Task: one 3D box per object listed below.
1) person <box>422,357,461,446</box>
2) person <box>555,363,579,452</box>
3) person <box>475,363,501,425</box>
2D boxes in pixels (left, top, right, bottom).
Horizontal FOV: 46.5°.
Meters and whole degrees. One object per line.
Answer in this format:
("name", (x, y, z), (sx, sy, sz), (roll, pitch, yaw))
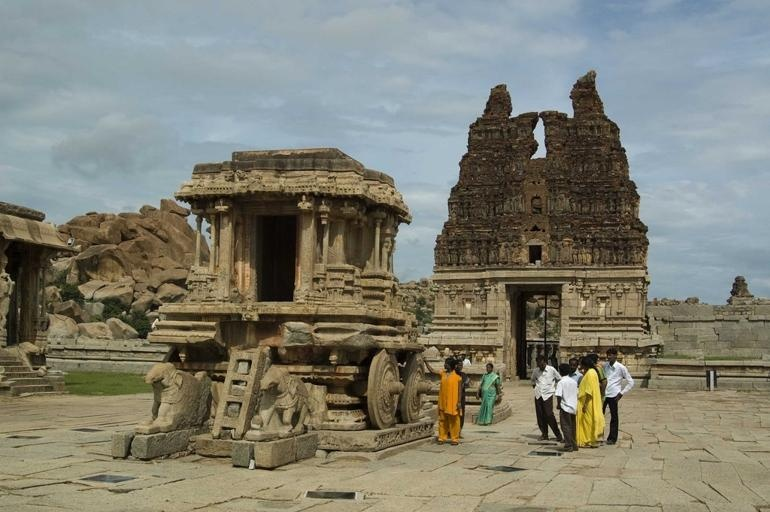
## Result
("person", (1.462, 3.256, 20.157), (0.544, 1.545, 0.835), (2, 1, 3))
("person", (3.961, 3.269, 19.442), (0.473, 1.579, 0.558), (2, 1, 8))
("person", (2.736, 3.593, 23.565), (0.564, 1.303, 1.340), (2, 1, 6))
